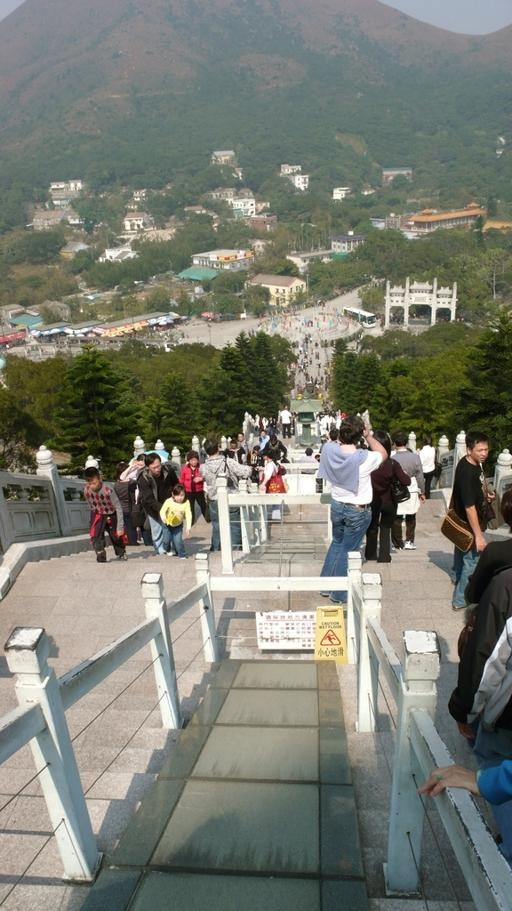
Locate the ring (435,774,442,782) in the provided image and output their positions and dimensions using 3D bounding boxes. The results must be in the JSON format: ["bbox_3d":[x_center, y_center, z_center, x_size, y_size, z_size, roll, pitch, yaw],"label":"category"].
[{"bbox_3d":[0.485,0.860,1.601,0.013,0.024,0.013,-3,35,2],"label":"ring"}]

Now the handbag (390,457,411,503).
[{"bbox_3d":[1.624,0.280,6.837,0.251,0.458,0.335,-3,52,7],"label":"handbag"}]

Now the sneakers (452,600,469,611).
[{"bbox_3d":[1.795,1.346,5.330,0.140,0.104,0.049,5,-8,8],"label":"sneakers"}]

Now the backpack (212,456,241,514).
[{"bbox_3d":[-0.387,0.366,7.499,0.340,0.631,0.436,-5,47,6],"label":"backpack"}]

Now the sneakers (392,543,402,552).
[{"bbox_3d":[1.864,1.269,8.116,0.057,0.120,0.169,-2,-5,-40],"label":"sneakers"}]

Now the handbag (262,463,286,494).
[{"bbox_3d":[0.257,0.363,8.996,0.163,0.310,0.308,-2,42,7],"label":"handbag"}]

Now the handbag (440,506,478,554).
[{"bbox_3d":[1.712,0.660,5.079,0.138,0.398,0.371,-12,14,-29],"label":"handbag"}]
